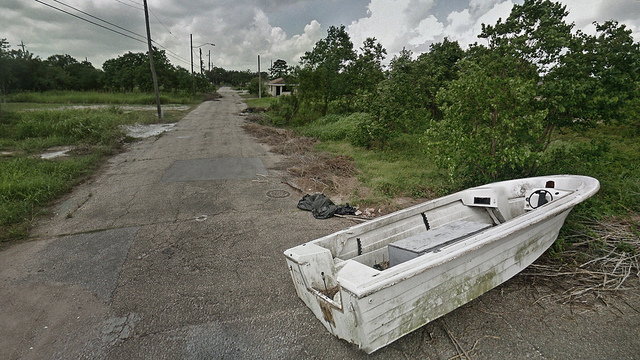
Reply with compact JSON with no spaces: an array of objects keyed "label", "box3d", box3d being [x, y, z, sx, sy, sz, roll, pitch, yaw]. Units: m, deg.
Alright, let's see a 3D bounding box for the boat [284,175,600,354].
[{"label":"boat","box3d":[2.890,1.812,8.572,6.731,2.615,2.310,-10,22,-27]}]
